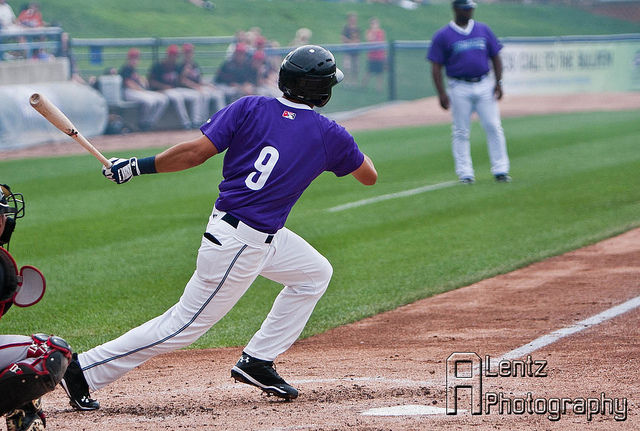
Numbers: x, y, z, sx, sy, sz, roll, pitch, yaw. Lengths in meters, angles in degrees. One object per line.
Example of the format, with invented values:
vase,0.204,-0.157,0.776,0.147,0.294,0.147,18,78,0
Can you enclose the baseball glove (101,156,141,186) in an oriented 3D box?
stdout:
baseball glove,-1.810,-0.390,9.408,0.378,0.143,0.260,-1,40,12

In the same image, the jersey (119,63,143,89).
jersey,-3.315,-2.422,18.343,0.390,0.439,0.233,-6,11,-23

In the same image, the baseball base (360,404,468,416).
baseball base,0.789,1.722,9.386,0.825,0.052,0.165,-2,8,-4

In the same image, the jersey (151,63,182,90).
jersey,-2.761,-2.480,18.811,0.643,0.457,0.246,-7,11,-27

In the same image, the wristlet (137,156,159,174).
wristlet,-1.538,-0.446,9.320,0.160,0.163,0.204,-3,9,-8

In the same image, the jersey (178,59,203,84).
jersey,-2.386,-2.576,19.039,0.200,0.168,0.594,12,-8,42

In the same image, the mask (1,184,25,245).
mask,-2.688,-0.034,9.140,0.213,0.524,0.907,-6,9,-16

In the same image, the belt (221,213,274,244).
belt,-0.650,0.116,9.242,0.435,0.268,0.067,-3,11,-6

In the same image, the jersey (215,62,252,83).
jersey,-1.661,-2.721,20.107,0.695,0.376,0.270,-3,10,-5

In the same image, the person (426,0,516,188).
person,1.777,-1.456,12.611,0.972,2.180,1.279,-2,10,5
